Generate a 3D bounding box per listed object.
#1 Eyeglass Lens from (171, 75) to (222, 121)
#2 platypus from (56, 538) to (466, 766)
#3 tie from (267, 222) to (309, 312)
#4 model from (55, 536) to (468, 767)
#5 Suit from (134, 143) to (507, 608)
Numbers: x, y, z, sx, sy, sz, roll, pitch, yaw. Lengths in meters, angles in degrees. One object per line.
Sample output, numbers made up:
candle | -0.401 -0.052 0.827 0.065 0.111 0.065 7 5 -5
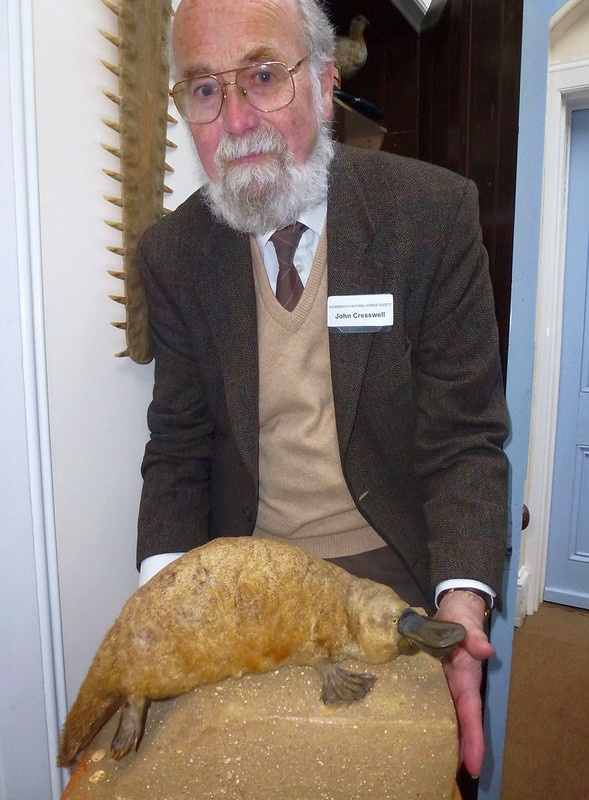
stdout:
Eyeglass Lens | -0.186 -0.586 1.345 0.098 0.048 0.104 11 37 19
platypus | -0.049 0.353 1.083 0.634 0.280 0.298 -2 15 -12
tie | -0.010 -0.274 1.409 0.076 0.176 0.022 -3 -24 14
model | -0.050 0.365 1.018 0.570 0.285 0.189 -1 10 1
Suit | 0.059 0.008 1.480 0.674 0.990 0.667 2 17 1
